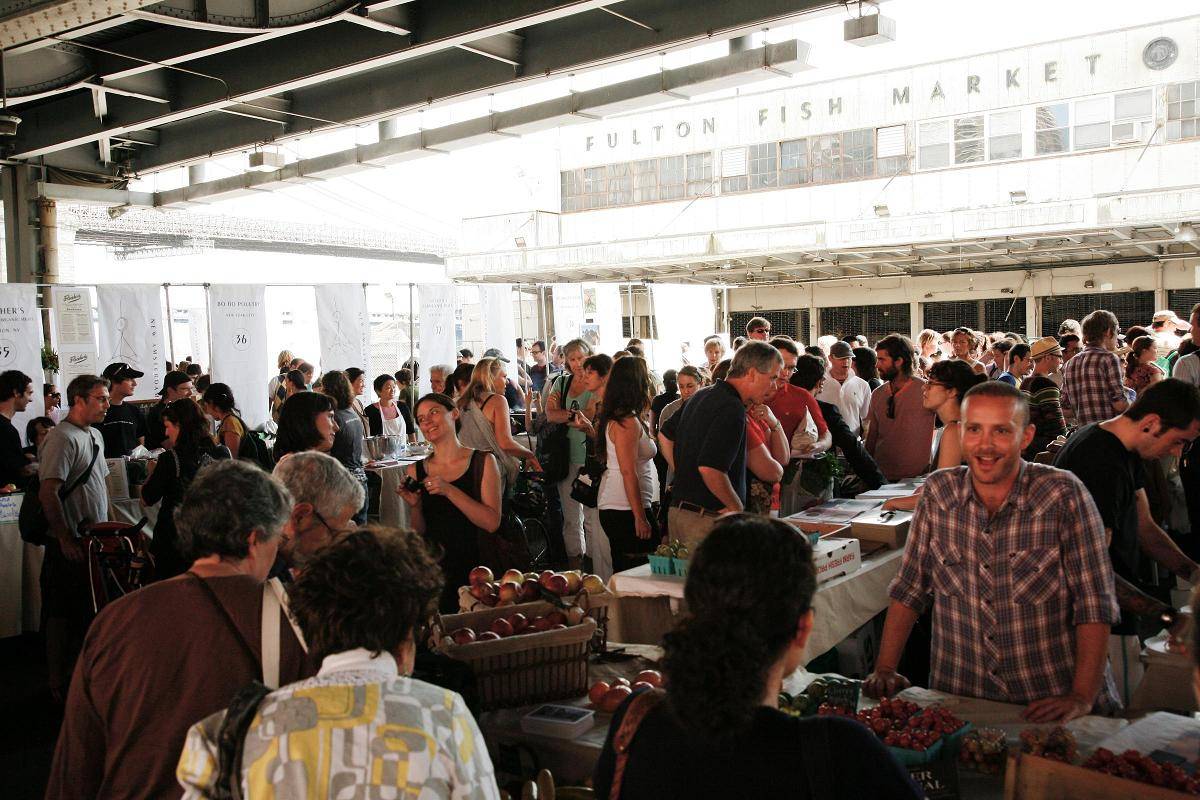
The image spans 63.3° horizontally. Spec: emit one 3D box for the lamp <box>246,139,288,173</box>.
[{"bbox_3d":[-4.231,-3.039,12.361,0.408,0.405,0.386,4,8,37],"label":"lamp"}]

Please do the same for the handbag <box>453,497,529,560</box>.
[{"bbox_3d":[-0.575,0.710,5.307,0.226,0.428,0.290,-7,1,-23],"label":"handbag"}]

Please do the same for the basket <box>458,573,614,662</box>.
[{"bbox_3d":[-0.310,0.861,4.079,0.512,0.234,0.375,0,-3,-18],"label":"basket"}]

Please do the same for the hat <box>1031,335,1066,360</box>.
[{"bbox_3d":[4.337,-0.505,9.547,0.373,0.150,0.279,-16,-1,40],"label":"hat"}]

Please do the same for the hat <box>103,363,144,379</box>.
[{"bbox_3d":[-4.707,-0.279,9.601,0.385,0.143,0.246,-2,-1,1],"label":"hat"}]

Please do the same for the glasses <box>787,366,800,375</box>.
[{"bbox_3d":[1.624,-0.256,8.226,0.084,0.085,0.028,5,7,-40],"label":"glasses"}]

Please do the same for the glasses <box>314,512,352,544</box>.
[{"bbox_3d":[-1.014,0.485,3.675,0.129,0.108,0.110,43,-9,-14],"label":"glasses"}]

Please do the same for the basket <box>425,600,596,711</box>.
[{"bbox_3d":[-0.313,1.001,3.890,0.519,0.207,0.370,-1,0,-29],"label":"basket"}]

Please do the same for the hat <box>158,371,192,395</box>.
[{"bbox_3d":[-3.839,-0.145,8.774,0.253,0.249,0.197,4,4,39],"label":"hat"}]
